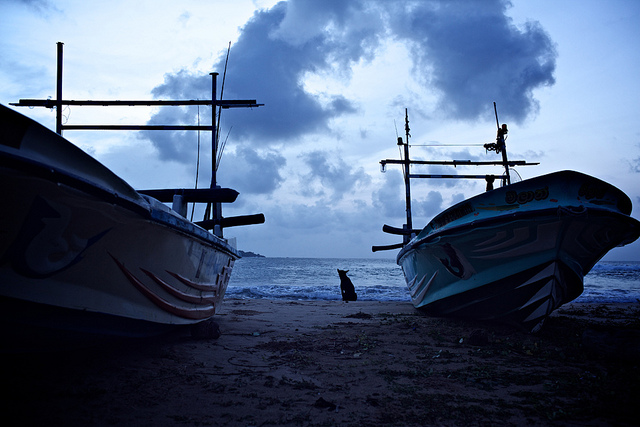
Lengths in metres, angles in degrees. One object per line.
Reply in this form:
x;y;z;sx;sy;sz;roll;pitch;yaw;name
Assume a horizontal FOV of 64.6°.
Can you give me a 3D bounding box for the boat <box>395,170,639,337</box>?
3.192;0.938;9.715;2.684;1.859;4.631;8;-22;-11;boat
